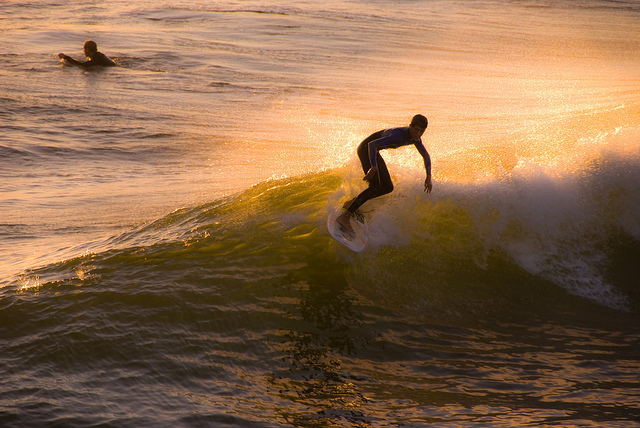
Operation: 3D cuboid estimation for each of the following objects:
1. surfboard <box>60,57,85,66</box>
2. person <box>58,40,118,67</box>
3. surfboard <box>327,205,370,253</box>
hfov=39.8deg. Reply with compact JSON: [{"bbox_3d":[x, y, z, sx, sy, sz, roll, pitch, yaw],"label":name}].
[{"bbox_3d":[-10.347,-6.370,36.839,0.946,0.222,0.800,13,24,24],"label":"surfboard"},{"bbox_3d":[-9.573,-6.645,36.521,2.002,1.067,0.618,-2,19,-8],"label":"person"},{"bbox_3d":[0.839,0.434,25.614,1.203,1.266,0.943,0,18,1],"label":"surfboard"}]
